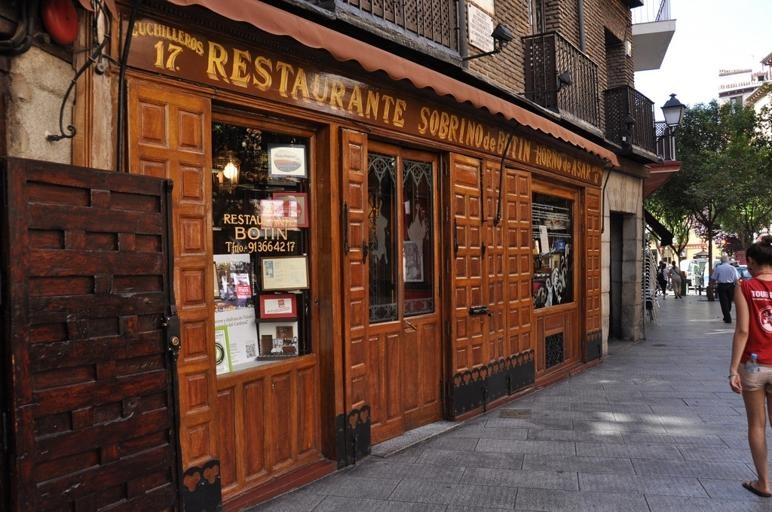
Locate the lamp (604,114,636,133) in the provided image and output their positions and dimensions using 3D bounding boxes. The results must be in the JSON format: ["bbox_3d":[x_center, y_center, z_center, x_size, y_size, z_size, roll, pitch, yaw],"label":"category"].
[{"bbox_3d":[5.905,-3.309,14.900,0.656,0.760,0.524,1,2,21],"label":"lamp"}]

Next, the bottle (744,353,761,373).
[{"bbox_3d":[3.778,1.095,6.049,0.119,0.197,0.028,1,2,33],"label":"bottle"}]

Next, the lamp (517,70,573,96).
[{"bbox_3d":[3.128,-3.318,11.419,0.923,0.548,0.645,3,1,39],"label":"lamp"}]

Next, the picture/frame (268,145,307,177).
[{"bbox_3d":[-1.150,-1.084,6.724,0.017,0.291,0.360,8,9,43],"label":"picture/frame"}]
